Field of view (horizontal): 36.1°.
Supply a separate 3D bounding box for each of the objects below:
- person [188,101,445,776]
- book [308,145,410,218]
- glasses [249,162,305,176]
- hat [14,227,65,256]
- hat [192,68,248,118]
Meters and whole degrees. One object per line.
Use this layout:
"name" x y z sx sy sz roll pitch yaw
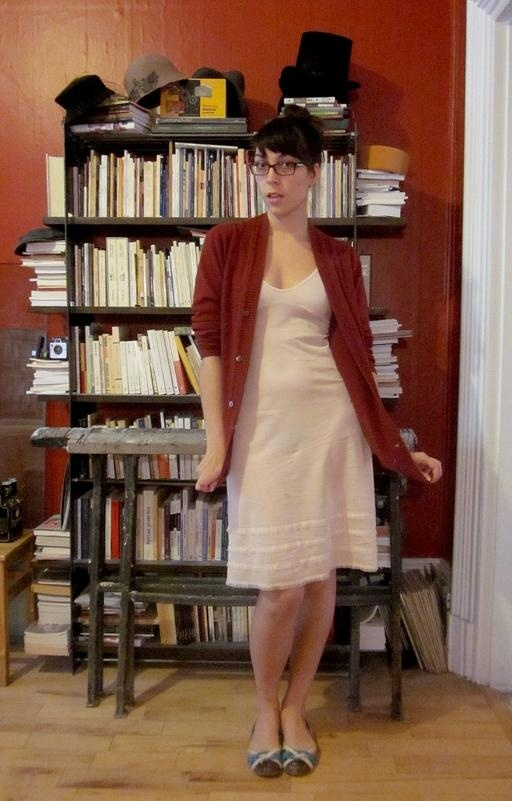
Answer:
"person" 0.093 0.128 2.226 0.595 1.845 0.396 -7 13 -31
"book" 0.379 -0.802 2.884 0.367 0.143 0.254 1 9 4
"glasses" 0.059 -0.618 2.092 0.139 0.042 0.049 1 11 6
"hat" -0.800 -0.597 2.891 0.153 0.041 0.115 -17 2 -19
"hat" -0.092 -1.163 2.932 0.207 0.224 0.217 4 27 7
